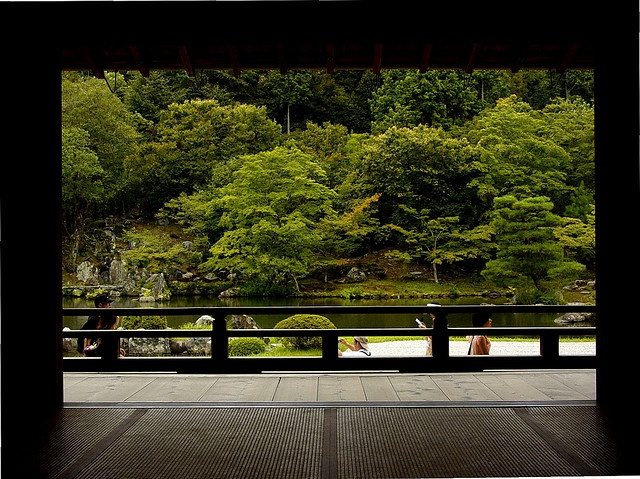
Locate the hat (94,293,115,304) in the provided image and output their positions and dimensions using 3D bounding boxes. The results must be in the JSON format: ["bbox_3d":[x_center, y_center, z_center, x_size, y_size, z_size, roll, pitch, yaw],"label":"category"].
[{"bbox_3d":[-2.803,0.789,8.648,0.301,0.132,0.183,0,1,-16],"label":"hat"}]
